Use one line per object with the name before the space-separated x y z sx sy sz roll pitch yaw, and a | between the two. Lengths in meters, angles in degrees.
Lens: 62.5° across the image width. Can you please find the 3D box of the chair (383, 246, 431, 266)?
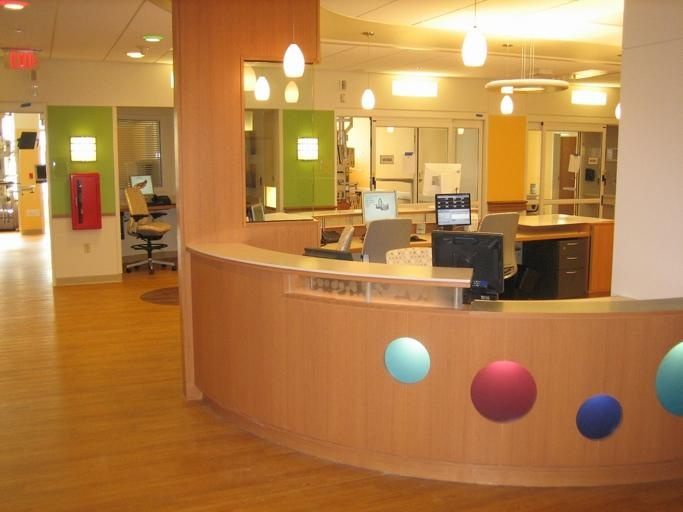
chair | 0.629 0.008 5.271 0.407 0.154 0.243 -1 12 1

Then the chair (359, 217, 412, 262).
chair | 0.473 -0.210 6.498 0.452 0.662 0.516 -4 13 -23

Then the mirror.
mirror | -0.596 -1.092 5.226 0.730 1.354 0.209 -12 16 -43

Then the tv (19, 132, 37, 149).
tv | -7.669 -2.826 13.728 0.446 0.429 0.110 4 15 -33

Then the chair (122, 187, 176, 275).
chair | -3.626 -0.532 10.474 0.920 1.559 1.444 -5 12 -17

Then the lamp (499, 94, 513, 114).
lamp | 2.751 -2.547 9.407 0.161 0.306 0.753 1 12 12

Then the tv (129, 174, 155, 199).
tv | -3.796 -1.301 10.607 0.073 0.417 0.560 -1 6 26

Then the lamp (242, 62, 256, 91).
lamp | -0.829 -1.588 5.027 0.185 0.219 0.187 -4 12 -16

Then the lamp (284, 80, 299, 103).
lamp | -0.473 -1.534 5.303 0.173 0.262 0.183 4 7 -1

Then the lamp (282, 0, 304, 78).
lamp | -0.431 -1.955 5.019 0.197 0.683 0.437 -2 11 -5

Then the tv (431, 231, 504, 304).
tv | 0.885 0.088 3.934 0.453 0.476 0.168 2 8 23

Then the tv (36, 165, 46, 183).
tv | -7.239 -1.966 13.522 0.189 0.440 0.974 -8 14 -30

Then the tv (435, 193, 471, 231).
tv | 1.521 -0.615 7.730 0.582 0.607 0.206 -1 4 -10
